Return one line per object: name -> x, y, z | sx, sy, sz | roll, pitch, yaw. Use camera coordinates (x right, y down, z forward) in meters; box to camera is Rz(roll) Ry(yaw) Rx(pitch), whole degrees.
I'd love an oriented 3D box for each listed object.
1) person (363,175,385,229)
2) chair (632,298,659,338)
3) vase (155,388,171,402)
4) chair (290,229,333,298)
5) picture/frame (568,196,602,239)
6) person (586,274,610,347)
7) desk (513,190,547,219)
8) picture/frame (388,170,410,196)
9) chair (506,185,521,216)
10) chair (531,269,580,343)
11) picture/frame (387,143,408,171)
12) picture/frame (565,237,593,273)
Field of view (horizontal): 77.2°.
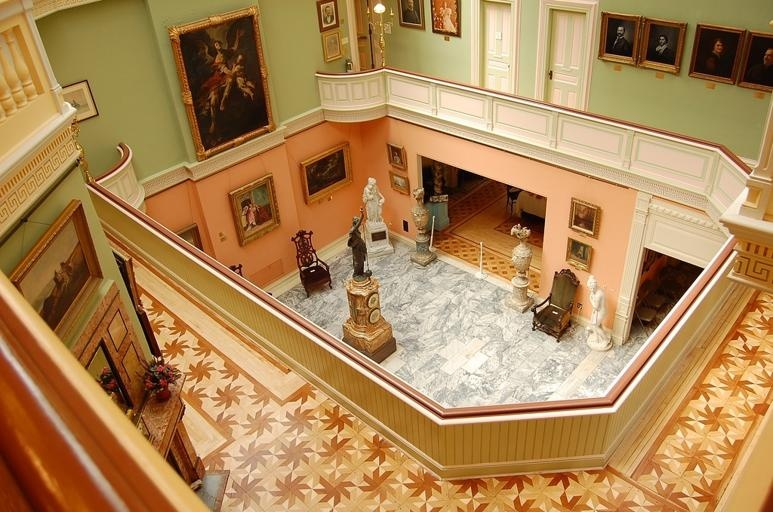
person -> -0.329, -1.369, 12.395 | 0.484, 1.501, 0.518 | -5, 33, -2
chair -> 5.600, 1.346, 10.509 | 0.439, 0.323, 0.699 | 18, 40, 28
vase -> -2.518, 1.574, 5.516 | 0.145, 0.155, 0.153 | 5, 10, 2
chair -> -1.908, 0.080, 12.375 | 0.787, 1.441, 1.181 | -13, 35, -15
picture/frame -> 4.079, -0.801, 9.928 | 0.060, 0.805, 0.683 | -38, 53, -24
person -> 4.453, 1.127, 10.171 | 0.499, 1.501, 0.583 | -1, 46, 13
desk -> 3.975, -1.339, 13.308 | 0.359, 0.799, 0.982 | -29, 42, -33
picture/frame -> 0.349, -1.961, 12.957 | 0.579, 0.606, 0.045 | 28, 56, 24
chair -> 3.546, -1.508, 13.539 | 0.414, 0.730, 0.417 | -32, 53, -18
chair -> 3.674, 1.082, 10.655 | 0.767, 1.344, 0.864 | 14, 35, 30
picture/frame -> 0.294, -2.584, 12.602 | 0.550, 0.648, 0.068 | 31, 57, 30
picture/frame -> 4.121, -0.048, 10.337 | 0.579, 0.679, 0.087 | 32, 58, 31
